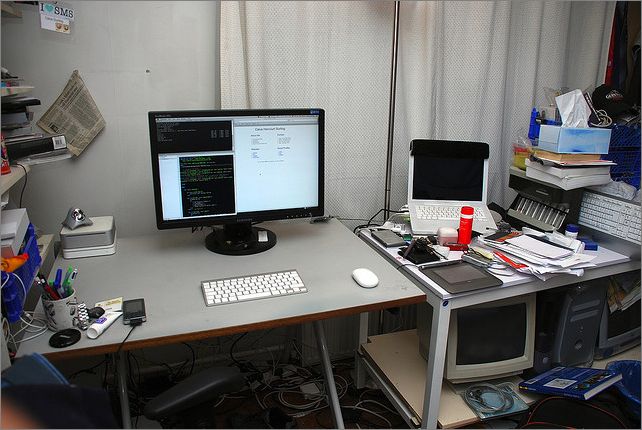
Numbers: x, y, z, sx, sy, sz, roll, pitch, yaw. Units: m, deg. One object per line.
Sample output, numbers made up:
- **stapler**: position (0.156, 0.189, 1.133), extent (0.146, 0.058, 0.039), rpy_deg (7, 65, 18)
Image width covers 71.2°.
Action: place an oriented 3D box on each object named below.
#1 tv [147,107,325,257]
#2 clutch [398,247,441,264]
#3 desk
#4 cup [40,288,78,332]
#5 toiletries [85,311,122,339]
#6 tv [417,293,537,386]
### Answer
- **tv**: position (-0.390, -0.164, 2.099), extent (0.664, 0.514, 0.268), rpy_deg (-4, 17, -17)
- **clutch**: position (0.488, 0.199, 2.142), extent (0.099, 0.024, 0.102), rpy_deg (-3, 19, -24)
- **desk**: position (-0.400, 0.694, 2.272), extent (1.432, 0.688, 0.771), rpy_deg (-7, 39, -15)
- **cup**: position (-1.003, 0.357, 1.705), extent (0.097, 0.123, 0.151), rpy_deg (-1, 16, -13)
- **toiletries**: position (-0.812, 0.404, 1.664), extent (0.060, 0.036, 0.094), rpy_deg (26, 26, 9)
- **tv**: position (0.768, 0.586, 2.398), extent (0.495, 0.454, 0.506), rpy_deg (-3, 8, -16)
